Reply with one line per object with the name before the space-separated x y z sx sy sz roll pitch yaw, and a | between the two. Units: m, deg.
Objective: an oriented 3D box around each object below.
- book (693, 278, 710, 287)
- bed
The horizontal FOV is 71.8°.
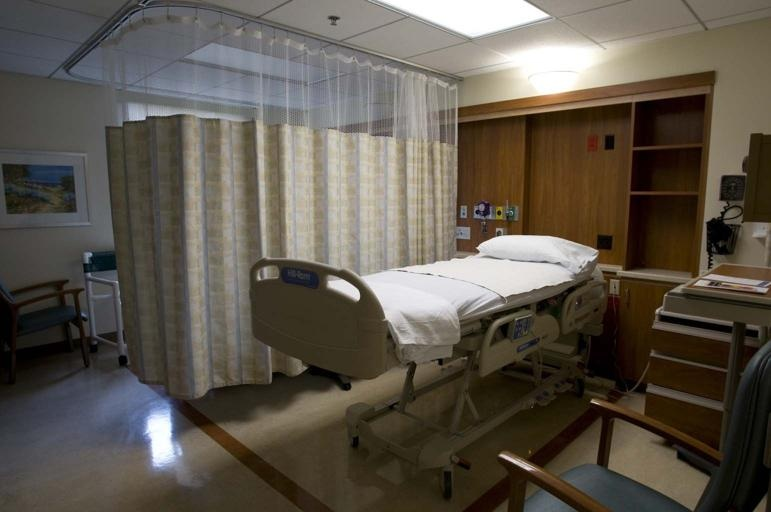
book | 2.091 0.178 3.509 0.076 0.010 0.070 -19 13 -34
bed | 0.474 0.636 4.476 2.773 1.485 1.704 -14 17 -42
